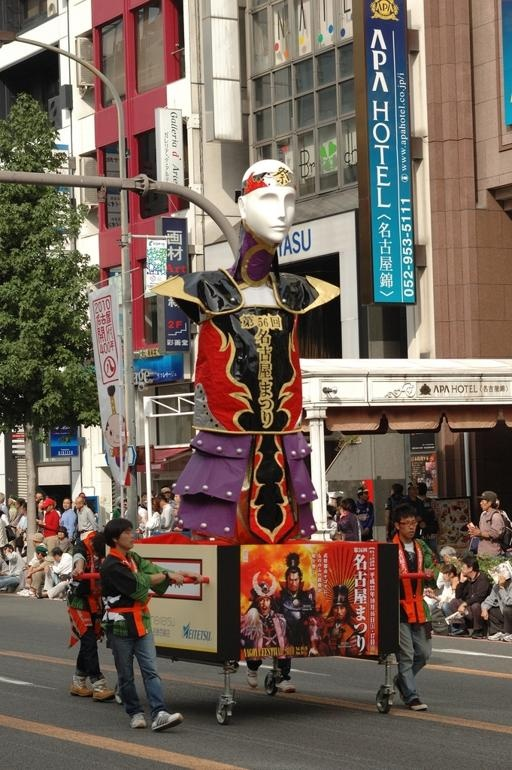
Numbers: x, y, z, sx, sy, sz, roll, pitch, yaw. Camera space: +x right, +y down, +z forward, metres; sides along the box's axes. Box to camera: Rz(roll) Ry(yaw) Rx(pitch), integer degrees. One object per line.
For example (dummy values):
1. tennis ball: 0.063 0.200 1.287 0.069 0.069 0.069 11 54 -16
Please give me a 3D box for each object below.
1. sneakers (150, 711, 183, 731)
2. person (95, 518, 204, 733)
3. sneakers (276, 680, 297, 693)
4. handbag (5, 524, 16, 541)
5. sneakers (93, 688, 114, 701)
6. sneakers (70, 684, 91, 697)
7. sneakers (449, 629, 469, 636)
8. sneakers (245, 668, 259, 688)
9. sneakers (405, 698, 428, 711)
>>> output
1. sneakers: -0.551 2.109 7.796 0.088 0.109 0.261 12 -25 -43
2. person: -0.708 1.562 8.056 0.479 1.390 0.705 -1 -2 -29
3. sneakers: 0.230 2.370 9.758 0.072 0.074 0.166 0 1 -9
4. handbag: -4.818 2.929 24.554 0.093 0.297 0.218 -11 17 -12
5. sneakers: -1.133 2.401 9.583 0.199 0.088 0.071 -14 0 25
6. sneakers: -1.372 2.421 9.844 0.186 0.081 0.072 1 7 13
7. sneakers: 2.405 2.945 14.770 0.200 0.085 0.069 2 -5 9
8. sneakers: -0.028 2.363 10.088 0.068 0.076 0.195 -3 39 -8
9. sneakers: 1.152 2.295 8.903 0.075 0.076 0.197 0 -8 -22
